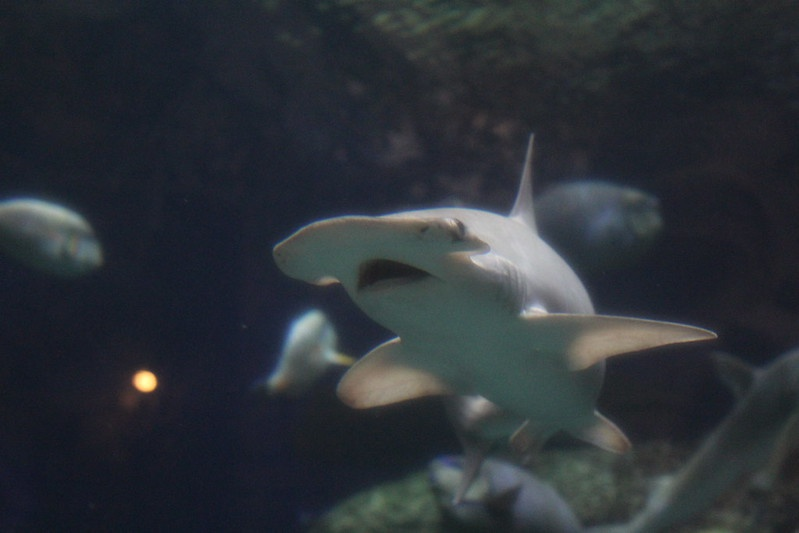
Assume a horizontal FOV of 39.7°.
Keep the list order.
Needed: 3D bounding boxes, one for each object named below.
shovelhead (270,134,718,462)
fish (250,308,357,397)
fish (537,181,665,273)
[{"bbox_3d":[0.419,-0.082,3.423,0.764,0.439,0.918,-1,18,-34],"label":"shovelhead"},{"bbox_3d":[-0.302,0.288,3.623,0.242,0.285,0.094,7,3,-3],"label":"fish"},{"bbox_3d":[0.593,-0.162,3.660,0.374,0.209,0.317,-5,3,25],"label":"fish"}]
